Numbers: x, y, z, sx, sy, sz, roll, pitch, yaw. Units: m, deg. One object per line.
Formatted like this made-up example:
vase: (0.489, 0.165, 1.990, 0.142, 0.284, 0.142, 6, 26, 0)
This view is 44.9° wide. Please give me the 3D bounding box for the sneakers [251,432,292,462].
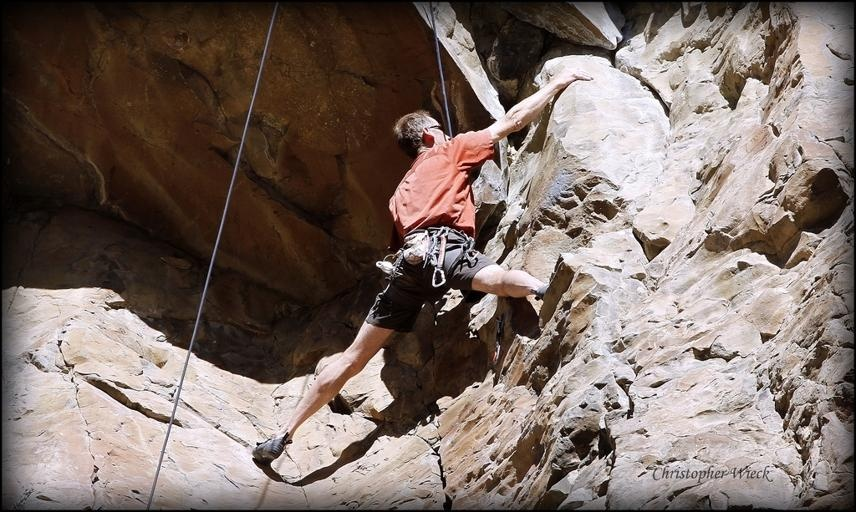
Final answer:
sneakers: (-1.126, 1.413, 7.630, 0.301, 0.160, 0.133, -35, -26, 29)
